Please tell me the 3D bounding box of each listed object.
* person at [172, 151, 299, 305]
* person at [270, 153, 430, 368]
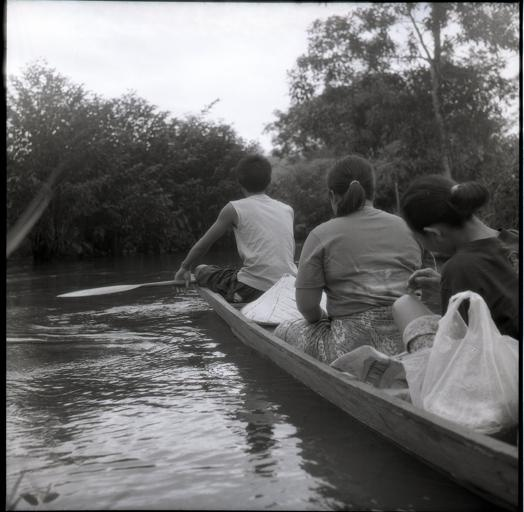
[{"bbox_3d":[-0.078,-0.176,4.367,1.241,1.418,1.023,5,-2,-37],"label":"person"},{"bbox_3d":[0.434,0.056,2.531,0.667,1.011,0.781,0,0,21],"label":"person"}]
